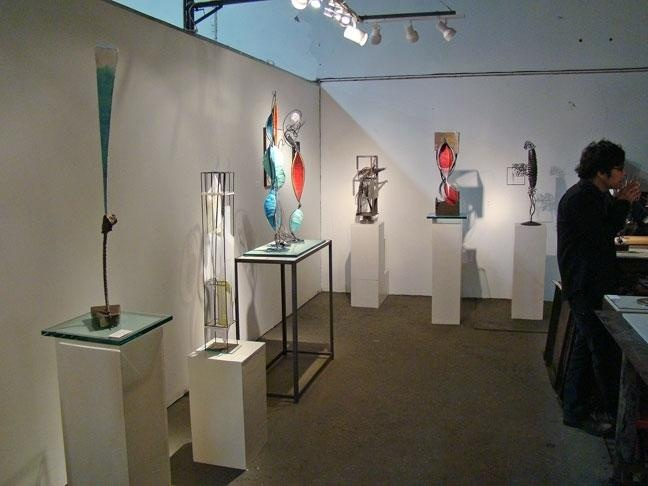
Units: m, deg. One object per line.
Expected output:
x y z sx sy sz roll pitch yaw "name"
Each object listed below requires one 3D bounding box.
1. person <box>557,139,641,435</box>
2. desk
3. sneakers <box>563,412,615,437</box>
1.917 0.310 3.738 0.474 2.052 0.636 5 12 29 "person"
-0.320 0.661 4.735 0.537 1.251 1.185 1 7 14 "desk"
1.919 1.290 3.706 0.291 0.140 0.118 -1 35 23 "sneakers"
